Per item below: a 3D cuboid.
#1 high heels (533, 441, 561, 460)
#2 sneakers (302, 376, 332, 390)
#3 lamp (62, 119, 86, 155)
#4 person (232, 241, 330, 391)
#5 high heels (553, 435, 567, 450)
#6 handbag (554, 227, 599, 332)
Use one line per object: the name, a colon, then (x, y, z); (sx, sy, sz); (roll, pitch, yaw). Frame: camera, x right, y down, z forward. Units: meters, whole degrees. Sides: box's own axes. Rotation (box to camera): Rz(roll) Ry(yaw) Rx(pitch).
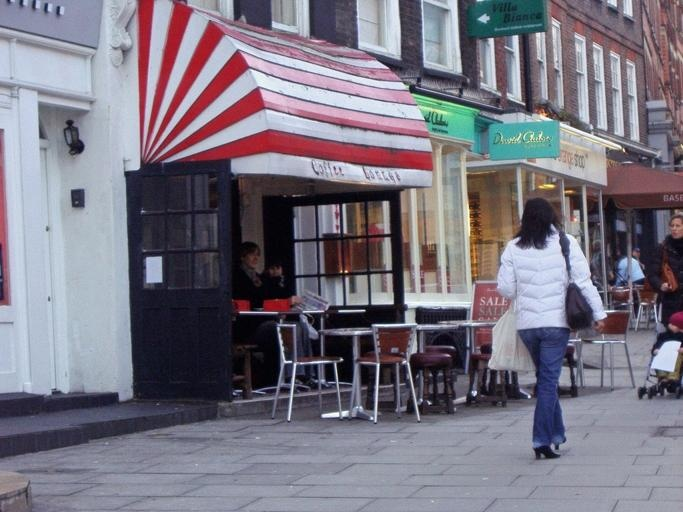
high heels: (2.098, 1.975, 13.995); (0.374, 0.150, 0.110); (-3, 1, -16)
sneakers: (-0.385, 1.724, 18.772); (0.485, 0.192, 0.159); (10, -4, -3)
lamp: (-3.357, -1.486, 17.262); (0.265, 0.448, 0.143); (-6, -5, 33)
person: (-0.932, 0.762, 18.447); (1.059, 1.943, 1.486); (-3, -4, -5)
high heels: (2.228, 1.920, 14.144); (0.188, 0.175, 0.184); (3, 0, 9)
handbag: (2.361, 0.240, 14.100); (0.310, 1.044, 0.293); (-5, -4, 20)
